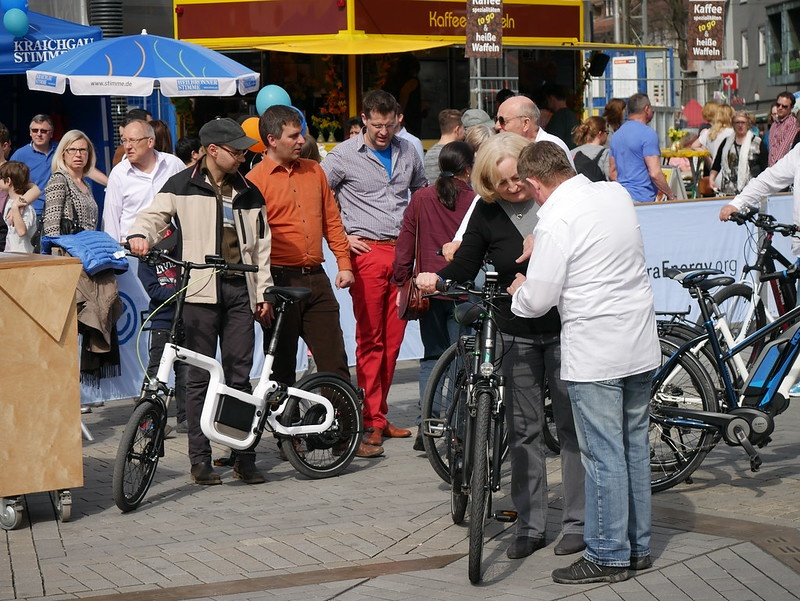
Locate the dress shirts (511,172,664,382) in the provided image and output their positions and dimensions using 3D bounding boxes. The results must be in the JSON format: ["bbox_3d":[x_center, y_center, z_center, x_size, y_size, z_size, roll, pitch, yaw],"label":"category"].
[{"bbox_3d":[1.063,-0.120,5.773,0.760,1.129,0.270,-1,7,4],"label":"dress shirts"}]

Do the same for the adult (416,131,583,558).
[{"bbox_3d":[0.681,0.318,6.064,1.006,2.587,0.939,-4,4,-13],"label":"adult"}]

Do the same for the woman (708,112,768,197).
[{"bbox_3d":[5.205,-1.990,15.534,0.813,1.759,0.553,19,31,39],"label":"woman"}]

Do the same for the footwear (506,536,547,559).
[{"bbox_3d":[0.769,1.517,6.193,0.288,0.136,0.098,-4,-9,-36],"label":"footwear"}]

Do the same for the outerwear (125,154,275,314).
[{"bbox_3d":[-1.468,-0.485,7.577,1.219,1.194,0.522,1,-2,-42],"label":"outerwear"}]

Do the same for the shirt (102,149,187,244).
[{"bbox_3d":[-2.139,-0.877,8.588,0.804,0.811,0.304,-11,9,-31],"label":"shirt"}]

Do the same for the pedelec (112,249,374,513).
[{"bbox_3d":[-1.135,0.542,7.439,1.980,1.806,0.869,-4,10,-27],"label":"pedelec"}]

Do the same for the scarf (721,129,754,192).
[{"bbox_3d":[5.175,-2.082,15.523,0.544,1.118,0.374,4,-14,28],"label":"scarf"}]

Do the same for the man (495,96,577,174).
[{"bbox_3d":[1.068,-1.290,7.931,0.578,0.728,0.426,-2,30,5],"label":"man"}]

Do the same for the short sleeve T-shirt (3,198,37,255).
[{"bbox_3d":[-3.679,-0.746,9.909,0.309,0.517,0.413,-5,9,-22],"label":"short sleeve T-shirt"}]

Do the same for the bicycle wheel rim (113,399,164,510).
[{"bbox_3d":[-1.836,1.136,7.227,0.186,0.627,0.615,13,-11,20],"label":"bicycle wheel rim"}]

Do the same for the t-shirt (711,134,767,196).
[{"bbox_3d":[5.214,-2.129,15.540,0.811,1.044,0.545,4,1,42],"label":"t-shirt"}]

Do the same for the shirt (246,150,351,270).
[{"bbox_3d":[-0.793,-0.715,8.007,0.793,1.143,0.353,-7,1,-39],"label":"shirt"}]

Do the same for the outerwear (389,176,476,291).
[{"bbox_3d":[0.356,-0.580,8.092,0.768,0.997,0.320,7,30,7],"label":"outerwear"}]

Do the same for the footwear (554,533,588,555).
[{"bbox_3d":[1.054,1.497,6.200,0.232,0.103,0.086,4,-6,-43],"label":"footwear"}]

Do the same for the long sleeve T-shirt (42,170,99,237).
[{"bbox_3d":[-2.929,-0.861,9.053,0.328,0.577,0.644,0,7,29],"label":"long sleeve T-shirt"}]

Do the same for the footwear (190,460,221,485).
[{"bbox_3d":[-1.439,1.302,7.613,0.120,0.125,0.250,-2,-1,-31],"label":"footwear"}]

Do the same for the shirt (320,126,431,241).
[{"bbox_3d":[-0.185,-0.943,8.427,1.054,0.827,0.432,-1,3,-22],"label":"shirt"}]

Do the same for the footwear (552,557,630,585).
[{"bbox_3d":[1.102,1.574,5.823,0.408,0.221,0.172,4,-6,5],"label":"footwear"}]

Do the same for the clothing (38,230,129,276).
[{"bbox_3d":[-2.671,-0.453,8.748,0.552,0.223,0.581,23,15,29],"label":"clothing"}]

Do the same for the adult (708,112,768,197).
[{"bbox_3d":[5.180,-1.974,15.548,0.790,1.761,0.574,14,27,33],"label":"adult"}]

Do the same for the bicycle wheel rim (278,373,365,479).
[{"bbox_3d":[-0.599,0.970,7.770,0.683,0.723,0.238,16,-5,-33],"label":"bicycle wheel rim"}]

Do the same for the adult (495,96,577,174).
[{"bbox_3d":[1.072,-1.301,7.946,0.567,0.730,0.421,-2,30,5],"label":"adult"}]

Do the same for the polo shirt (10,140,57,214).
[{"bbox_3d":[-3.655,-1.238,10.200,0.242,0.693,0.775,6,12,36],"label":"polo shirt"}]

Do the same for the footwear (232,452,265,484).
[{"bbox_3d":[-1.118,1.272,7.750,0.128,0.246,0.320,0,0,-34],"label":"footwear"}]

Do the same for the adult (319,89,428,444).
[{"bbox_3d":[-0.187,-0.295,8.590,0.963,2.979,0.932,-3,17,-10],"label":"adult"}]
